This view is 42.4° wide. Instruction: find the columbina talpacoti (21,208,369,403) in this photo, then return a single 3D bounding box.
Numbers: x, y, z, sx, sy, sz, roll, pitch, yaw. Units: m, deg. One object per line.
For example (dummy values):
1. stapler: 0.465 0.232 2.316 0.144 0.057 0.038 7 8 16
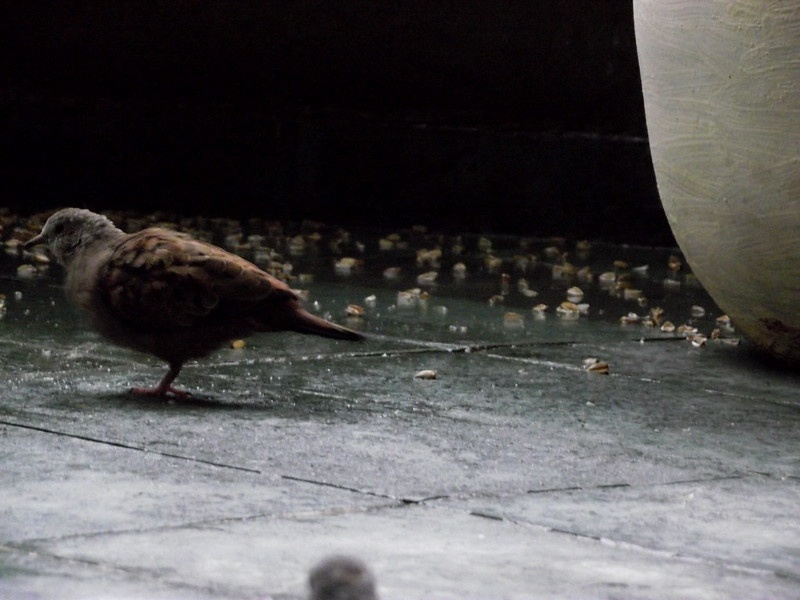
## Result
1. columbina talpacoti: -0.670 -0.006 3.475 1.229 0.551 0.399 -1 -1 14
